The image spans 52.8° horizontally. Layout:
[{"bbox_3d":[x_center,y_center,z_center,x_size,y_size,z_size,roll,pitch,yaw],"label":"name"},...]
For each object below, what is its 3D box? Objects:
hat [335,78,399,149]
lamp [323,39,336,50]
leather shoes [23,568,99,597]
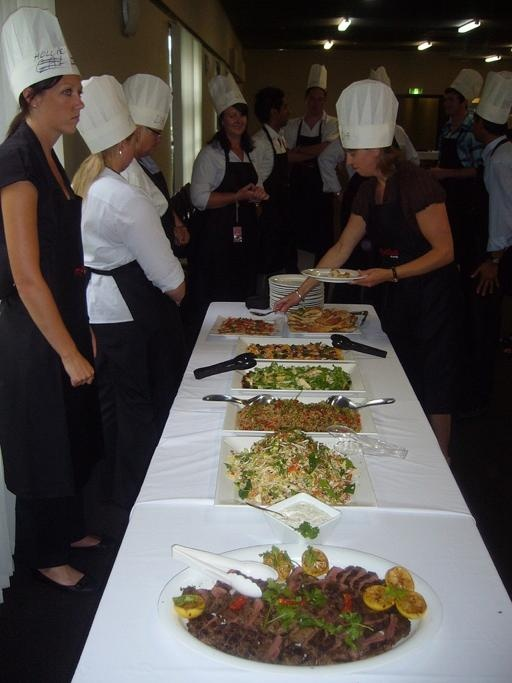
[{"bbox_3d":[0.433,-0.949,2.162,0.261,0.272,0.309,1,29,9],"label":"hat"},{"bbox_3d":[1.637,-6.739,11.691,0.326,0.142,0.623,0,31,8],"label":"lamp"},{"bbox_3d":[-0.697,0.833,1.834,0.224,0.059,0.080,6,6,11],"label":"leather shoes"}]
